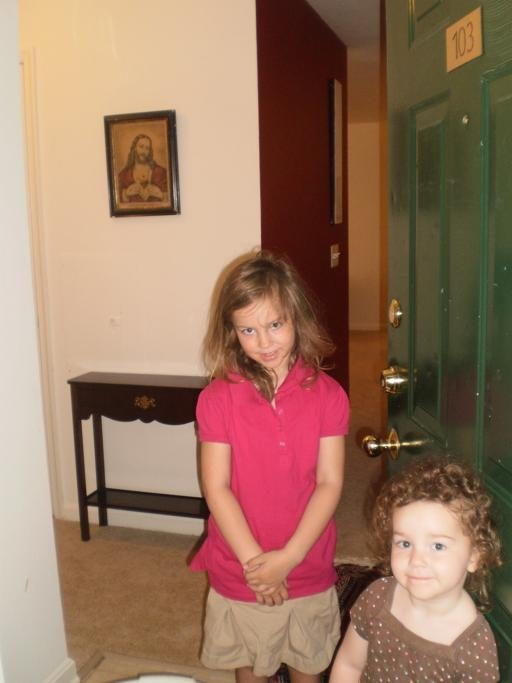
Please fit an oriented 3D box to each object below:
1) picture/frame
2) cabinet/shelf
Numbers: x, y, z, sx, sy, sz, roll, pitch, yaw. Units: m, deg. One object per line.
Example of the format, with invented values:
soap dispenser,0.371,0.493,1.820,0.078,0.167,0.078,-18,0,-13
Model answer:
picture/frame,-0.515,-0.847,2.539,0.418,0.590,0.040,2,10,13
cabinet/shelf,-0.519,0.577,2.683,0.704,0.843,0.295,2,6,9
